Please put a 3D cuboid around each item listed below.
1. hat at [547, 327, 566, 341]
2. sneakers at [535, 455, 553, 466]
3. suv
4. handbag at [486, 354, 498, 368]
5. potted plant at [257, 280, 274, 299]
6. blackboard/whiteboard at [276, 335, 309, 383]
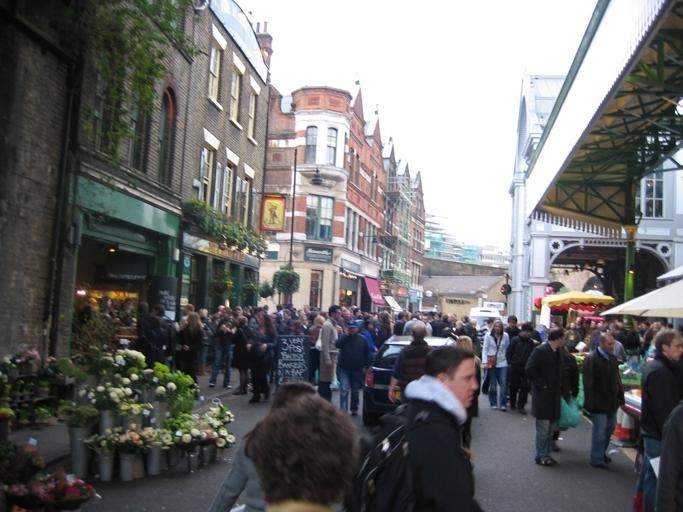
[{"bbox_3d":[3.490,1.305,9.875,0.176,0.226,0.219,8,-9,43],"label":"hat"},{"bbox_3d":[3.277,3.326,9.831,0.272,0.127,0.130,-1,-1,-7],"label":"sneakers"},{"bbox_3d":[1.163,2.522,12.773,1.631,1.443,2.970,0,3,6],"label":"suv"},{"bbox_3d":[3.734,2.672,15.251,0.250,0.406,0.350,1,3,-7],"label":"handbag"},{"bbox_3d":[-3.430,1.524,27.109,0.714,0.782,0.712,4,-10,-45],"label":"potted plant"},{"bbox_3d":[-1.311,2.714,15.324,0.763,1.255,0.778,2,-17,-13],"label":"blackboard/whiteboard"}]
